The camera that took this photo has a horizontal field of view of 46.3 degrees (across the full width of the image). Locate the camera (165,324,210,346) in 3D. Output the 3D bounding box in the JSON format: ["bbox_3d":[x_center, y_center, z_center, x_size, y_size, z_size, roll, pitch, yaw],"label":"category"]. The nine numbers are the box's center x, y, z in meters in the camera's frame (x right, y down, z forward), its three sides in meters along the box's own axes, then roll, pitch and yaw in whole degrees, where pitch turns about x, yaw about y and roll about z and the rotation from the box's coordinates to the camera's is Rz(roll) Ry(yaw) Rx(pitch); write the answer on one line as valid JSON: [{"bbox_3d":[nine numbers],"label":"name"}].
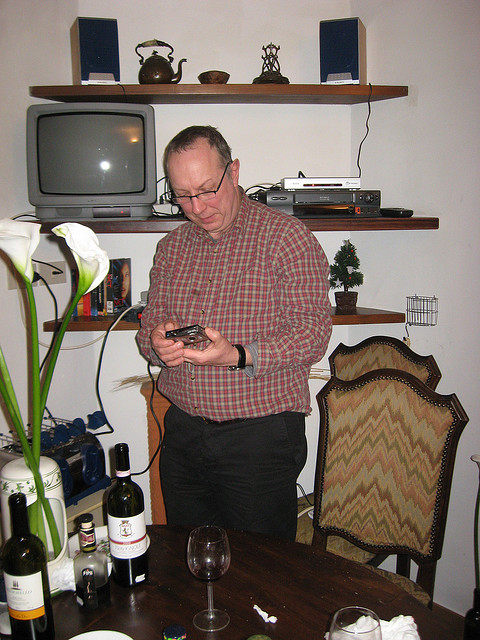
[{"bbox_3d":[-0.122,0.037,1.324,0.143,0.044,0.064,2,0,29],"label":"camera"}]

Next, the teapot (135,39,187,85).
[{"bbox_3d":[-0.299,-0.993,2.190,0.207,0.190,0.145,1,9,8],"label":"teapot"}]

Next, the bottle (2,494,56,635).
[{"bbox_3d":[-0.304,0.350,0.814,0.076,0.210,0.073,2,-1,0],"label":"bottle"}]

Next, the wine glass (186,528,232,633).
[{"bbox_3d":[-0.052,0.411,0.903,0.066,0.133,0.116,2,0,-12],"label":"wine glass"}]

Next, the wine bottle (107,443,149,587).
[{"bbox_3d":[-0.174,0.322,0.959,0.071,0.237,0.083,-1,2,1],"label":"wine bottle"}]

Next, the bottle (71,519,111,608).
[{"bbox_3d":[-0.246,0.391,0.933,0.065,0.144,0.110,2,0,-16],"label":"bottle"}]

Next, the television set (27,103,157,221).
[{"bbox_3d":[-0.549,-0.596,2.080,0.488,0.436,0.131,1,12,-10],"label":"television set"}]

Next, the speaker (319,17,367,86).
[{"bbox_3d":[0.412,-1.076,2.345,0.191,0.292,0.195,7,14,14],"label":"speaker"}]

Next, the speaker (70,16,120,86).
[{"bbox_3d":[-0.563,-1.038,2.163,0.195,0.284,0.146,-2,15,-28],"label":"speaker"}]
